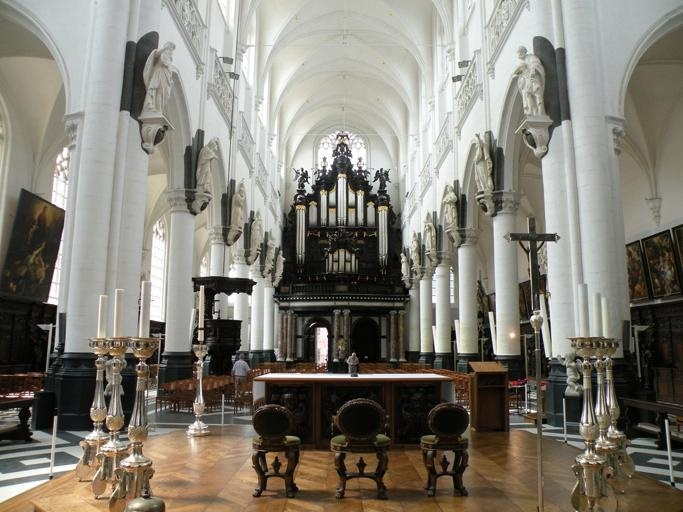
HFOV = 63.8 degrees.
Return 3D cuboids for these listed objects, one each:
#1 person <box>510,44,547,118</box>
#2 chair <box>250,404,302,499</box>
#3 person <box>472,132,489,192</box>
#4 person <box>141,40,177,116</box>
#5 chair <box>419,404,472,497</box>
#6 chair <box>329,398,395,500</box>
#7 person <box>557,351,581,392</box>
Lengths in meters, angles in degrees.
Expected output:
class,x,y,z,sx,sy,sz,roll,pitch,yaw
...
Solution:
class,x,y,z,sx,sy,sz,roll,pitch,yaw
person,4.108,-3.685,11.856,0.482,1.704,0.487,1,-11,-7
chair,-0.867,2.481,7.242,0.559,1.111,0.647,1,-8,-8
person,4.004,-2.600,15.441,0.438,1.904,0.615,-4,-12,16
person,-3.944,-3.780,11.750,0.670,1.736,0.428,10,-15,-41
chair,1.389,2.467,7.296,0.591,1.166,0.678,1,-7,-8
chair,0.258,2.497,7.394,0.755,1.191,1.084,-1,-12,2
person,4.543,2.297,10.862,0.400,0.835,0.345,-5,-12,22
